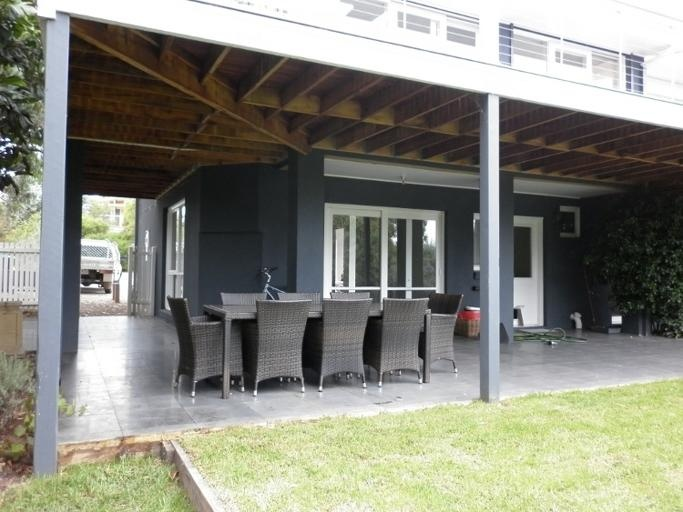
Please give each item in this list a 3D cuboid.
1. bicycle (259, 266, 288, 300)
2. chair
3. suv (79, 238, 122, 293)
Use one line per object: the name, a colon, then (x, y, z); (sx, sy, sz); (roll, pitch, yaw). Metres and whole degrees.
bicycle: (-1.088, 0.495, 9.412); (0.672, 0.460, 0.437); (1, 0, -17)
chair: (0.079, 1.017, 6.594); (3.338, 1.054, 1.212); (1, -5, -24)
suv: (-10.072, 0.428, 22.373); (1.447, 2.318, 2.255); (1, -4, -24)
